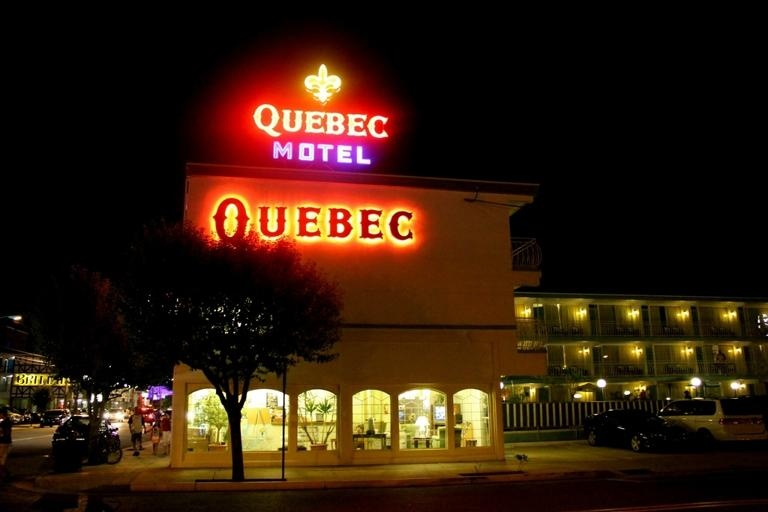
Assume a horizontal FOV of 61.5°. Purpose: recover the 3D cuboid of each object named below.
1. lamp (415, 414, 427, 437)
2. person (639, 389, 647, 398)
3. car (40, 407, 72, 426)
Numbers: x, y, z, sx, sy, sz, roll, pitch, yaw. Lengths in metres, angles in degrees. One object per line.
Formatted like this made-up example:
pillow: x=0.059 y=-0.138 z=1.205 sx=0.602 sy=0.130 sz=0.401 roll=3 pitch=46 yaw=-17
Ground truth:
lamp: x=1.979 y=8.328 z=31.651 sx=0.837 sy=0.970 sz=0.834 roll=1 pitch=-7 yaw=-10
person: x=21.600 y=11.468 z=53.775 sx=0.612 sy=0.784 sz=1.824 roll=-10 pitch=-19 yaw=21
car: x=-31.885 y=15.584 z=63.044 sx=1.644 sy=1.307 sz=2.727 roll=1 pitch=1 yaw=-9
